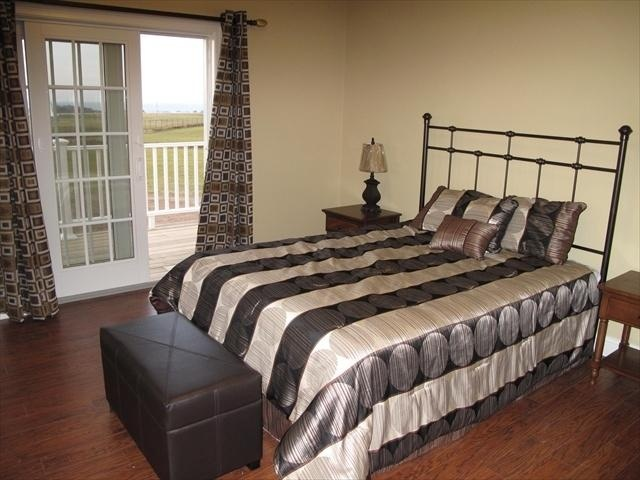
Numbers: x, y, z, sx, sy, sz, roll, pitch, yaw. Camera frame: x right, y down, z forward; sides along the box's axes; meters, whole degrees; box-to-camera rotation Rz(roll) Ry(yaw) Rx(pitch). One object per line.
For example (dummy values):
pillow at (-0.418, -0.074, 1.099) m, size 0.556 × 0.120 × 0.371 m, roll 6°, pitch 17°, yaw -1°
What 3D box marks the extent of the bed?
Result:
bed at (0.545, 0.313, 3.163) m, size 2.735 × 1.661 × 2.131 m, roll -11°, pitch 20°, yaw -33°
